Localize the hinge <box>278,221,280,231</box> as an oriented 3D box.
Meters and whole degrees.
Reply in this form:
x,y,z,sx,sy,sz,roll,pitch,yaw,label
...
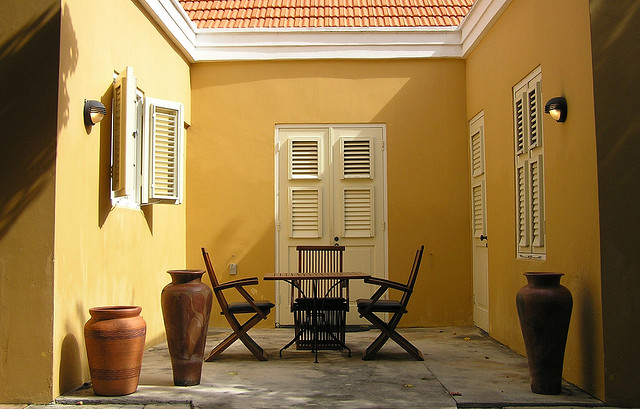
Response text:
x,y,z,sx,sy,sz,roll,pitch,yaw,label
-0.639,0.331,9.299,0.023,0.137,0.021,-1,3,-8,hinge

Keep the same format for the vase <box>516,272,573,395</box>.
x,y,z,sx,sy,sz,roll,pitch,yaw,label
2.331,1.334,6.156,0.535,1.251,0.242,0,3,17,vase

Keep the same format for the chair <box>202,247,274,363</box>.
x,y,z,sx,sy,sz,roll,pitch,yaw,label
-1.073,1.310,7.708,0.992,1.376,1.032,-2,-9,20,chair

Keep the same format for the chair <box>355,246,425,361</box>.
x,y,z,sx,sy,sz,roll,pitch,yaw,label
0.921,1.303,7.673,0.949,1.355,0.945,-1,-11,25,chair

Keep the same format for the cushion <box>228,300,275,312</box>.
x,y,z,sx,sy,sz,roll,pitch,yaw,label
-0.875,1.257,7.497,0.556,0.126,0.375,-1,3,-10,cushion

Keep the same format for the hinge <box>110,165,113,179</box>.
x,y,z,sx,sy,sz,roll,pitch,yaw,label
-2.465,-0.381,7.026,0.015,0.155,0.068,-3,4,-41,hinge

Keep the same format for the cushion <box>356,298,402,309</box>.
x,y,z,sx,sy,sz,roll,pitch,yaw,label
0.747,1.227,7.455,0.539,0.117,0.333,-1,3,-4,cushion

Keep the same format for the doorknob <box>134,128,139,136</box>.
x,y,z,sx,sy,sz,roll,pitch,yaw,label
-2.184,-0.859,7.050,0.021,0.085,0.089,5,21,24,doorknob
